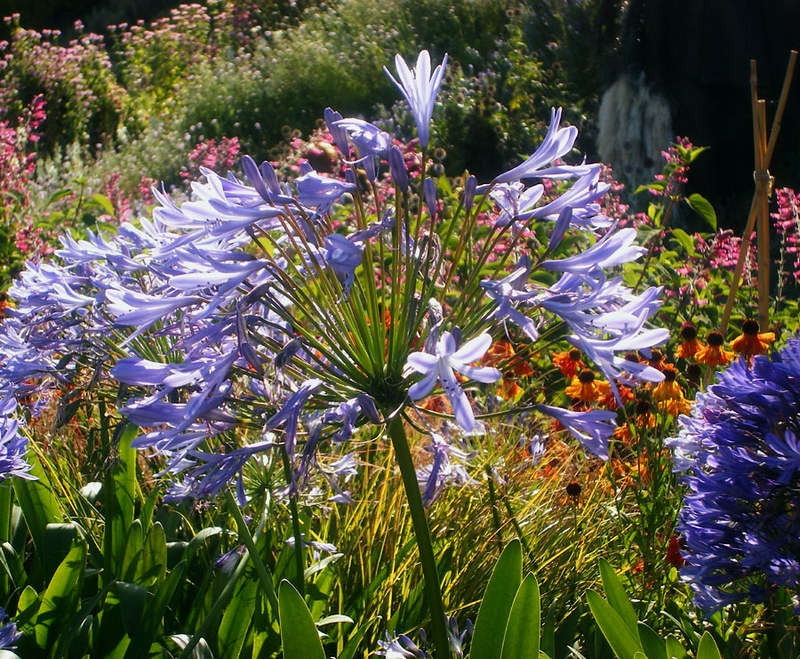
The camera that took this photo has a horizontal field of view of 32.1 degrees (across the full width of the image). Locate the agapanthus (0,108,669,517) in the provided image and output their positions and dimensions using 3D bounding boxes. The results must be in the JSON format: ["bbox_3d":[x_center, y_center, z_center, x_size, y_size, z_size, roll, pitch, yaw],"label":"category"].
[{"bbox_3d":[-0.328,-0.011,7.066,2.452,2.306,1.317,-4,51,18],"label":"agapanthus"}]
